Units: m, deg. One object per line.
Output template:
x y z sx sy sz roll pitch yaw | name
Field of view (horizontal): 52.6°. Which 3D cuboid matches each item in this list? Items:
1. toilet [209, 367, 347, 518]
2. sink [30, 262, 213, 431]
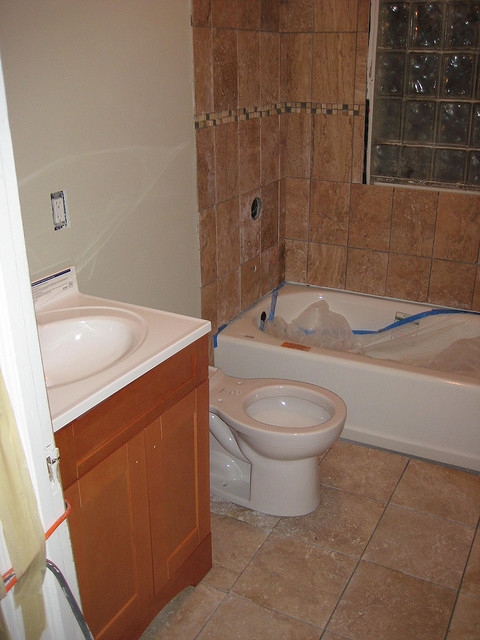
0.113 0.490 1.922 0.550 0.501 0.374 6 19 26 | toilet
-0.343 0.093 1.229 0.330 0.179 0.402 20 37 31 | sink
